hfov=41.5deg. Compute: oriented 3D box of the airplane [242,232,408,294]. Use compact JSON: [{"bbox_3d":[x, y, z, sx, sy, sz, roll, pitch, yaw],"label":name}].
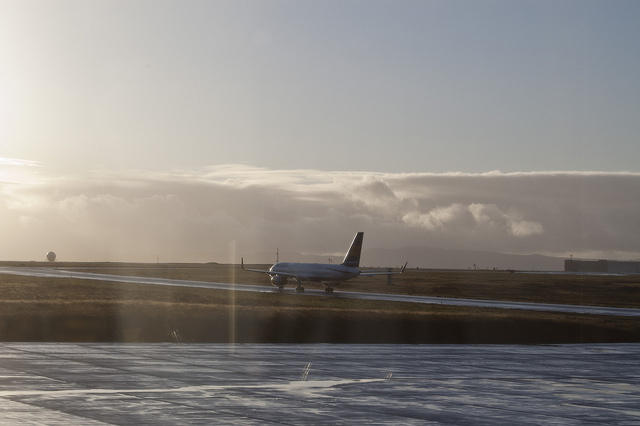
[{"bbox_3d":[-1.782,8.660,122.988,14.478,5.457,16.317,3,0,42],"label":"airplane"}]
